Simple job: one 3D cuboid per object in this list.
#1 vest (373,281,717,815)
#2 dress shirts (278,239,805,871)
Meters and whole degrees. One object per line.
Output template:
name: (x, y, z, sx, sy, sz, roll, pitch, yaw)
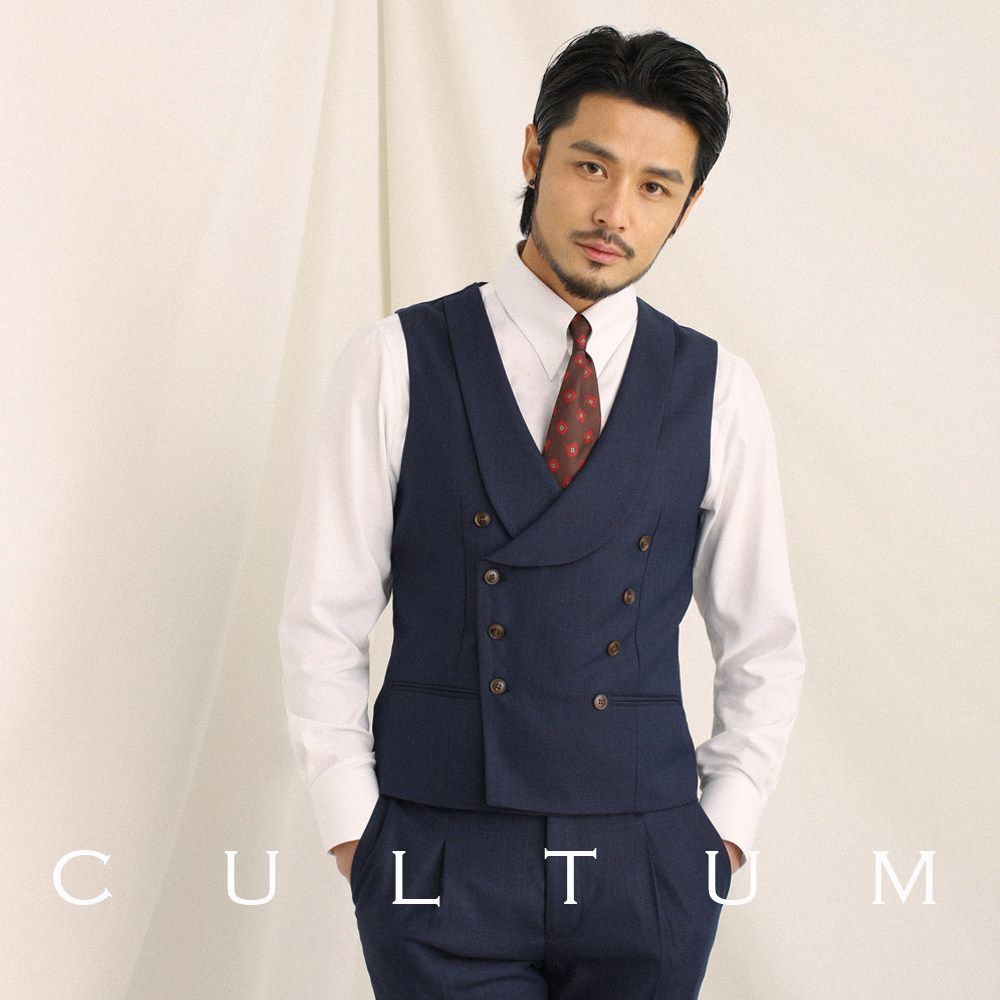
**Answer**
vest: (0.079, 0.067, 2.220, 0.506, 0.592, 0.241, 10, -4, -18)
dress shirts: (0.053, 0.092, 2.254, 0.873, 1.158, 0.494, 2, 1, -7)
